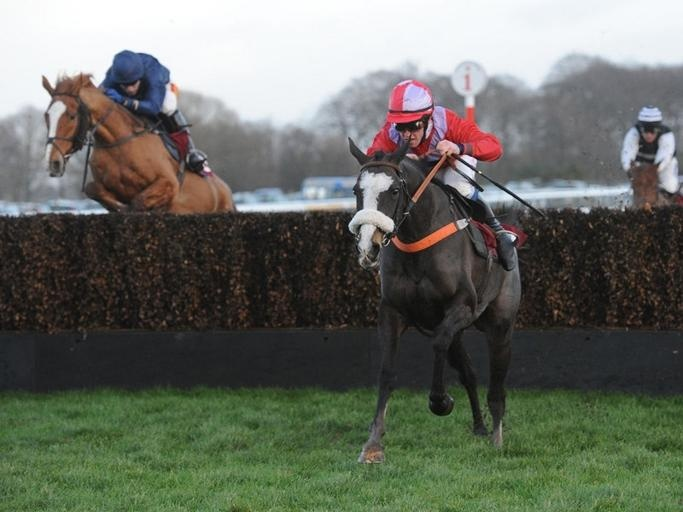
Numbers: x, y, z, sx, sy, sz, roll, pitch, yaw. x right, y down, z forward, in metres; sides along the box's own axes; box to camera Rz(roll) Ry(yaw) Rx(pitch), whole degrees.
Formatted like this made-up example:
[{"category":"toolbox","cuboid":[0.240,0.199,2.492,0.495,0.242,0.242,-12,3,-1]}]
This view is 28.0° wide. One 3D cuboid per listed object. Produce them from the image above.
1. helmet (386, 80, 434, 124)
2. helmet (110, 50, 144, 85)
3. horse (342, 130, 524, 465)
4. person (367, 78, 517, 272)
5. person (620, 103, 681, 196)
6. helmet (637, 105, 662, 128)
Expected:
[{"category":"helmet","cuboid":[0.654,-1.527,13.458,0.458,0.369,0.649,6,17,39]},{"category":"helmet","cuboid":[-2.615,-2.319,16.565,0.422,0.262,0.541,-2,43,-2]},{"category":"horse","cuboid":[0.822,0.488,13.291,0.742,2.979,2.067,-6,-12,43]},{"category":"person","cuboid":[1.076,-0.798,13.948,2.116,1.400,1.132,21,-15,-40]},{"category":"person","cuboid":[4.096,-1.391,17.993,0.780,1.264,1.097,2,35,21]},{"category":"helmet","cuboid":[4.050,-1.815,17.986,0.297,0.338,0.297,1,-9,7]}]
